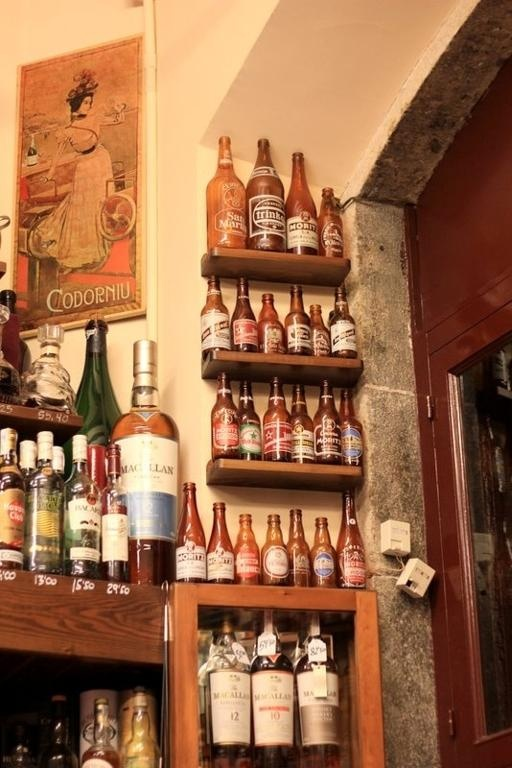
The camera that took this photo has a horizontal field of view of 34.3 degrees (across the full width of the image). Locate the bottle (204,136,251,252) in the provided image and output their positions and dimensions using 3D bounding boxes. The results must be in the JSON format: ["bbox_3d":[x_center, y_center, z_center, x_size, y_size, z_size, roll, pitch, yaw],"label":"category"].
[{"bbox_3d":[-0.074,-0.441,1.952,0.097,0.343,0.099,-2,-20,-1],"label":"bottle"}]

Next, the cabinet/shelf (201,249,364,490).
[{"bbox_3d":[0.046,-0.094,1.880,0.320,0.411,0.138,5,-13,-4],"label":"cabinet/shelf"}]

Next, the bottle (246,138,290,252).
[{"bbox_3d":[0.019,-0.446,1.965,0.092,0.329,0.073,-2,-20,-1],"label":"bottle"}]
